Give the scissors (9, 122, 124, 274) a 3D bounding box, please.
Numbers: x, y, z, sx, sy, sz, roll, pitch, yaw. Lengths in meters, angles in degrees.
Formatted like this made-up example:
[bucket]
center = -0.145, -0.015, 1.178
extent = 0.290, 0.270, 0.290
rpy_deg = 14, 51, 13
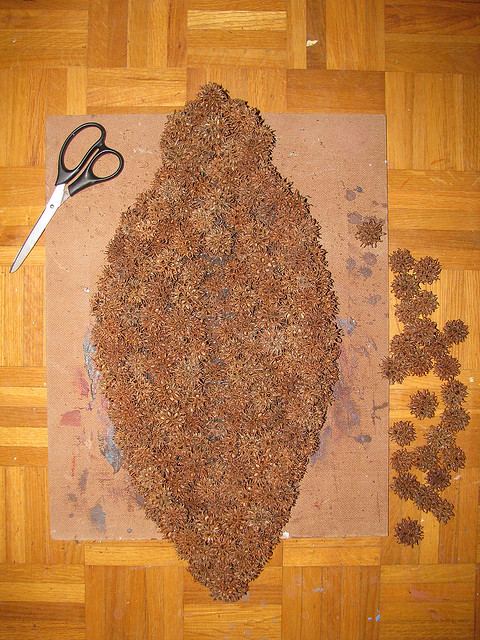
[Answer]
[scissors]
center = -0.465, -0.336, 2.162
extent = 0.201, 0.037, 0.501
rpy_deg = 40, 88, 3
